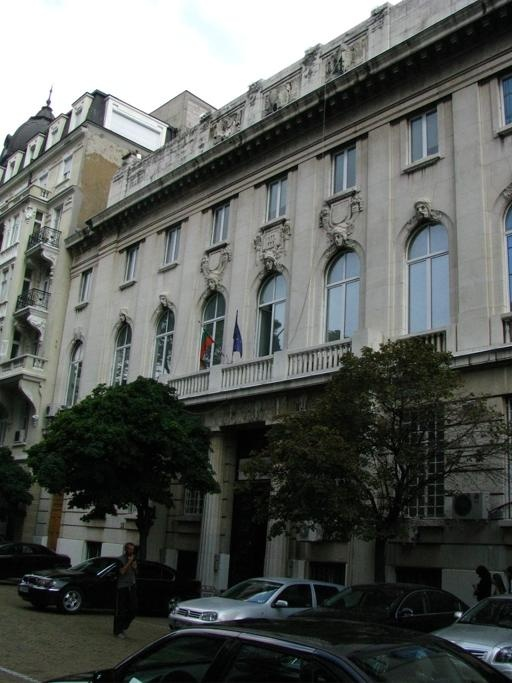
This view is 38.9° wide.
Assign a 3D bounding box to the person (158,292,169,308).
[{"bbox_3d":[-3.776,-1.681,29.765,0.321,0.671,0.748,10,-19,-23],"label":"person"}]

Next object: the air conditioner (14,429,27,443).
[{"bbox_3d":[-12.381,4.957,38.185,0.612,0.646,0.374,-17,-19,35],"label":"air conditioner"}]

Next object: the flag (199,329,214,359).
[{"bbox_3d":[-1.793,0.102,26.411,0.209,1.181,1.176,1,0,18],"label":"flag"}]

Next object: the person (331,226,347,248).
[{"bbox_3d":[2.541,-3.254,22.151,0.272,0.701,0.528,11,-20,-25],"label":"person"}]

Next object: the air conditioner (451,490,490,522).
[{"bbox_3d":[4.660,3.576,15.832,0.223,0.573,0.891,12,-20,-27],"label":"air conditioner"}]

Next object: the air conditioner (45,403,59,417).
[{"bbox_3d":[-10.291,3.537,36.588,0.522,0.826,1.325,9,-19,-20],"label":"air conditioner"}]
